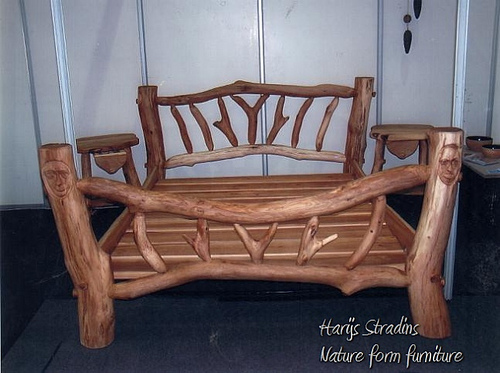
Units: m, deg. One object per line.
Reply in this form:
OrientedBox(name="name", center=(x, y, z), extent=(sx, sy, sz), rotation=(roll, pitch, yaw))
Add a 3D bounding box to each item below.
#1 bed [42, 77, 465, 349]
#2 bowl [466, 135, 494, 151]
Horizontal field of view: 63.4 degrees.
OrientedBox(name="bed", center=(0.032, -0.040, 2.277), extent=(1.581, 0.758, 1.829), rotation=(-3, 18, 0))
OrientedBox(name="bowl", center=(1.922, -0.376, 3.382), extent=(0.170, 0.079, 0.165), rotation=(1, 7, 0))
